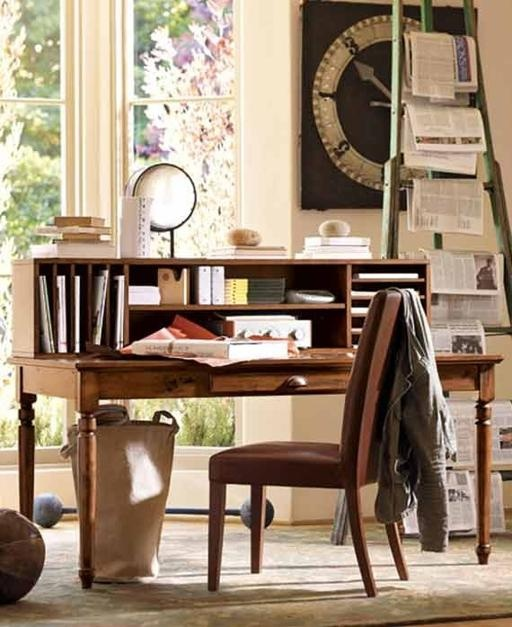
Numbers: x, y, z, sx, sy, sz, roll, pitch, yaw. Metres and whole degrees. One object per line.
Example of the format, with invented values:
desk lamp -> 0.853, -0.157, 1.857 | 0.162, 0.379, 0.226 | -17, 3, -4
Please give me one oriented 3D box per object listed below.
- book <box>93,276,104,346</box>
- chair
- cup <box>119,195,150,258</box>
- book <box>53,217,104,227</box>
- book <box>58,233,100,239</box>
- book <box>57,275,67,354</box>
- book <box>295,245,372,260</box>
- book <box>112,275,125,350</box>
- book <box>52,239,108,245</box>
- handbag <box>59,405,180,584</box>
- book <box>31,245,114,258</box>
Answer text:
book -> -0.525, -0.015, 3.118 | 0.031, 0.233, 0.061 | 3, 3, 21
chair -> 0.140, 0.384, 2.807 | 0.599, 0.821, 0.575 | -4, -9, 37
cup -> -0.422, -0.298, 3.218 | 0.102, 0.213, 0.059 | 2, 3, -9
book -> -0.592, -0.307, 3.120 | 0.159, 0.034, 0.048 | 2, 3, -13
book -> -0.591, -0.256, 3.118 | 0.121, 0.028, 0.031 | 2, 3, -3
book -> -0.637, 0.003, 3.046 | 0.031, 0.251, 0.013 | 1, 3, -12
book -> 0.274, -0.223, 3.421 | 0.269, 0.051, 0.123 | 2, 2, 3
book -> -0.468, 0.003, 3.155 | 0.033, 0.321, 0.246 | 1, 2, -14
book -> -0.594, -0.242, 3.134 | 0.184, 0.021, 0.059 | 2, 2, -6
handbag -> -0.544, 0.580, 3.047 | 0.503, 0.609, 0.436 | 0, -2, -15
book -> -0.628, -0.213, 3.139 | 0.291, 0.060, 0.165 | 2, 2, 1
